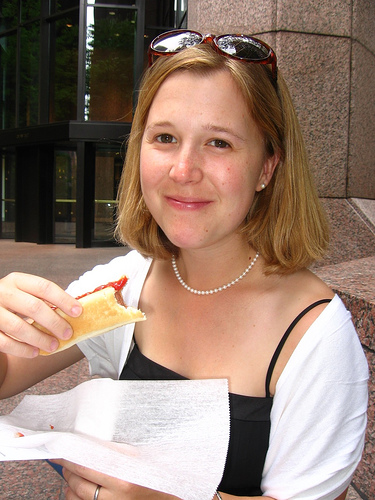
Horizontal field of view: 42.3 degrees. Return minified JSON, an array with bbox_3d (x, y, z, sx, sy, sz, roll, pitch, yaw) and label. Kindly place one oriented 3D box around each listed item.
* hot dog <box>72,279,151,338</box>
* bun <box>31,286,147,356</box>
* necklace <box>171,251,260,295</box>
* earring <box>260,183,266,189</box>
[{"bbox_3d":[-0.211,0.175,1.337,0.186,0.154,0.054,-13,-34,0],"label":"hot dog"},{"bbox_3d":[-0.269,0.191,1.325,0.344,0.170,0.132,4,12,9],"label":"bun"},{"bbox_3d":[0.060,0.066,1.753,0.351,0.156,0.153,11,15,39],"label":"necklace"},{"bbox_3d":[0.258,-0.216,1.639,0.018,0.015,0.004,-1,-1,-25],"label":"earring"}]
